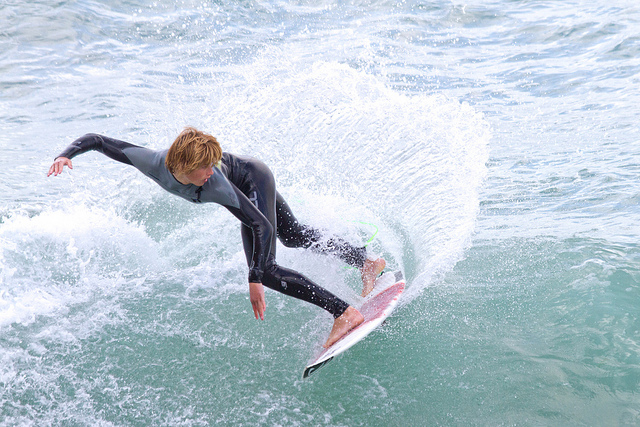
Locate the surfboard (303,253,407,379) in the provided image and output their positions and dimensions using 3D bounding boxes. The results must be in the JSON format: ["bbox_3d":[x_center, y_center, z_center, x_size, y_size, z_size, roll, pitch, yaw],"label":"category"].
[{"bbox_3d":[0.702,1.404,10.099,2.502,0.776,0.240,-30,97,-42],"label":"surfboard"}]
